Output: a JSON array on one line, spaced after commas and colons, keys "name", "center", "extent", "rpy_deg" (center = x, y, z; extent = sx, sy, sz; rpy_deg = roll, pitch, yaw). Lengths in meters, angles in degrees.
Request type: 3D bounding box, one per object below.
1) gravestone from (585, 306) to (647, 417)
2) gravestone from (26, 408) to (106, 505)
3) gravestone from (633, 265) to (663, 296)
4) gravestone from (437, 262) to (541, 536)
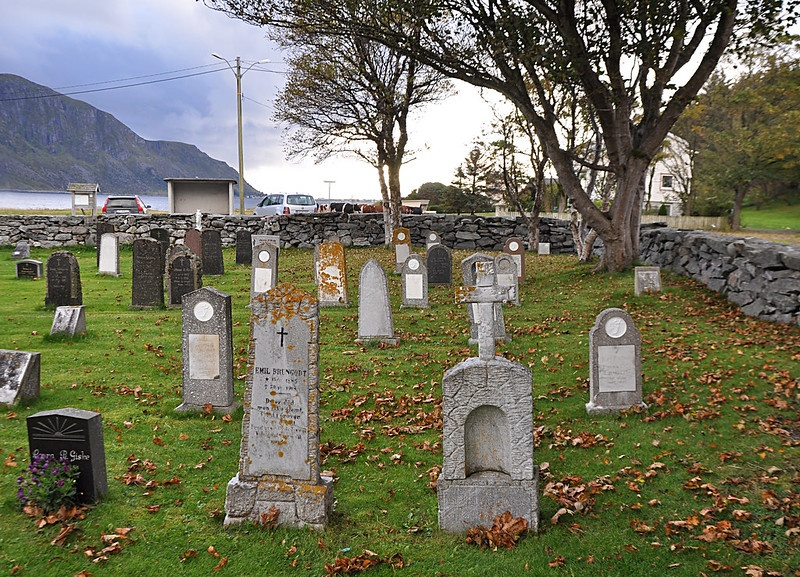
[{"name": "gravestone", "center": [3.607, 1.206, 11.531], "extent": [0.941, 1.748, 0.189], "rpy_deg": [-2, 3, 3]}, {"name": "gravestone", "center": [-4.655, 2.333, 9.569], "extent": [0.942, 1.297, 0.244], "rpy_deg": [-2, 3, -3]}, {"name": "gravestone", "center": [6.257, -0.183, 17.283], "extent": [0.770, 1.042, 0.174], "rpy_deg": [0, -5, 5]}, {"name": "gravestone", "center": [1.204, 1.693, 9.557], "extent": [1.353, 3.230, 0.810], "rpy_deg": [-1, 3, 10]}]
